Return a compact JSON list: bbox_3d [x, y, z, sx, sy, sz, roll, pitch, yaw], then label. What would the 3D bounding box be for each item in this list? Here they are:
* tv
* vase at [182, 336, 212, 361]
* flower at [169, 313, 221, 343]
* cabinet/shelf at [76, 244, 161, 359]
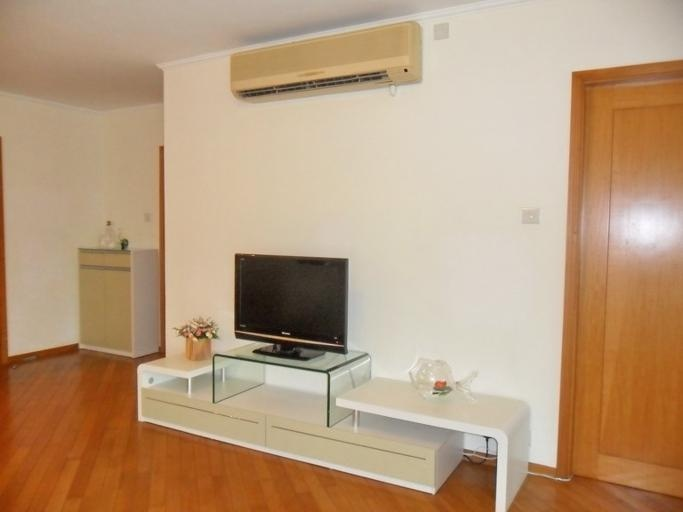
[{"bbox_3d":[-0.355,0.391,4.192,0.751,0.587,0.201,2,5,27],"label":"tv"},{"bbox_3d":[-1.197,0.769,4.494,0.194,0.151,0.200,1,-2,-2],"label":"vase"},{"bbox_3d":[-1.166,0.609,4.590,0.257,0.124,0.264,5,4,25],"label":"flower"},{"bbox_3d":[-2.507,0.526,6.169,1.197,1.564,0.531,1,0,29],"label":"cabinet/shelf"}]
